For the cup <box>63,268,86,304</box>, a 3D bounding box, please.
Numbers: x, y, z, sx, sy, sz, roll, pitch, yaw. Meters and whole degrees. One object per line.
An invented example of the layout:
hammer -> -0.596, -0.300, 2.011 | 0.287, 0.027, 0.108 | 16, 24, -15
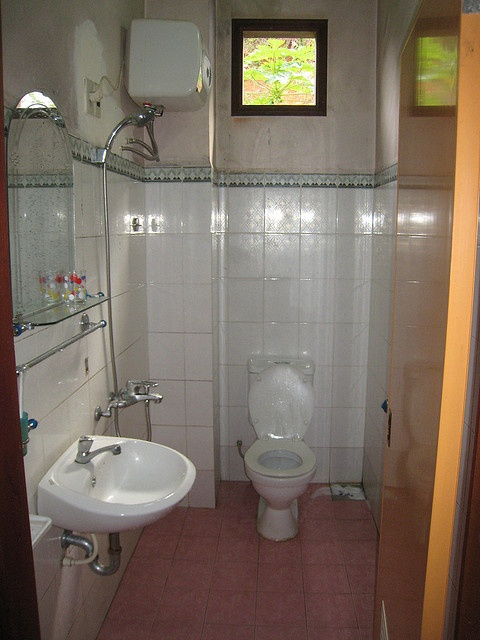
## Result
cup -> -0.493, -0.102, 1.451 | 0.060, 0.092, 0.071 | 5, 18, 8

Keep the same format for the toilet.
toilet -> 0.216, 0.700, 2.637 | 0.369, 0.829, 0.559 | 1, 8, 5

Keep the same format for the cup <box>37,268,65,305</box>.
cup -> -0.518, -0.096, 1.349 | 0.051, 0.077, 0.062 | 0, 26, -9

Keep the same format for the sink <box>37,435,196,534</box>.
sink -> -0.357, 0.530, 1.567 | 0.410, 0.213, 0.475 | 1, 10, 6
